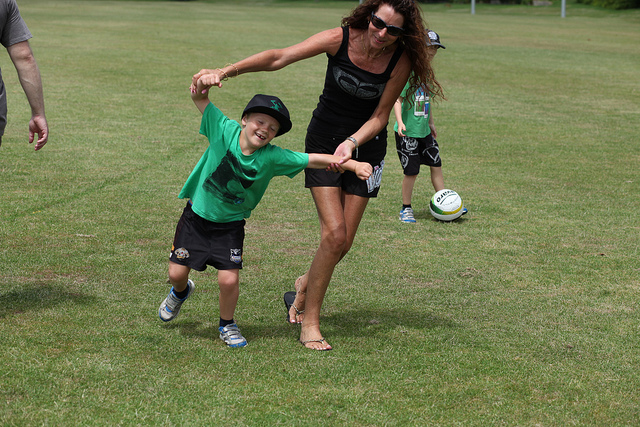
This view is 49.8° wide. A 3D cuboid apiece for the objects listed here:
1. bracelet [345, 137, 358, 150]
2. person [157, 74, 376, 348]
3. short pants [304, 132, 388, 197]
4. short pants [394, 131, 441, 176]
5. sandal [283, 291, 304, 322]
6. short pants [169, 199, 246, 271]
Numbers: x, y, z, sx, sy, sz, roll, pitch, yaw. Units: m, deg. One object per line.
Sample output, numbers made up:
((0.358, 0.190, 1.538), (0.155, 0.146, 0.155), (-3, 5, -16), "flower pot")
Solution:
((0.259, -0.579, 5.664), (0.023, 0.083, 0.085), (-45, 43, -2), "bracelet")
((-0.653, -0.030, 5.628), (1.173, 2.133, 0.668), (10, 20, 17), "person")
((0.203, -0.419, 5.781), (0.533, 0.463, 0.296), (5, 15, -26), "short pants")
((1.277, -0.860, 8.927), (0.558, 0.668, 0.372), (-11, 25, 3), "short pants")
((-0.247, 0.844, 6.342), (0.118, 0.075, 0.285), (4, 57, -41), "sandal")
((-0.908, 0.196, 5.685), (0.658, 0.566, 0.324), (13, 7, -6), "short pants")
